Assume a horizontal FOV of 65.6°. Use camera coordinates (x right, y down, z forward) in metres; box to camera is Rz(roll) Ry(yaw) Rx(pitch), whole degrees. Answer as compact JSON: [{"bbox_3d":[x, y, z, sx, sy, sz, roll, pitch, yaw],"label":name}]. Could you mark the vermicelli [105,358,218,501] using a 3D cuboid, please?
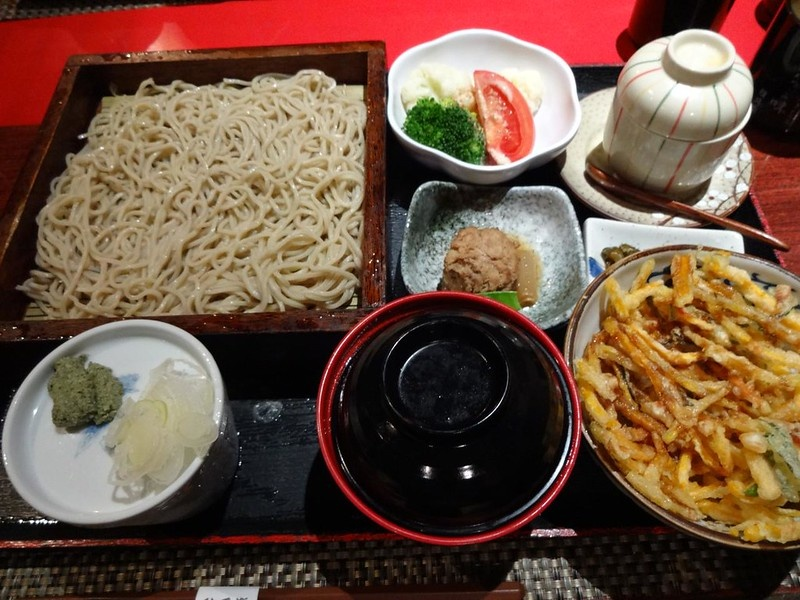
[{"bbox_3d":[-0.926,0.512,2.487,0.408,0.119,0.546,20,60,11],"label":"vermicelli"}]
